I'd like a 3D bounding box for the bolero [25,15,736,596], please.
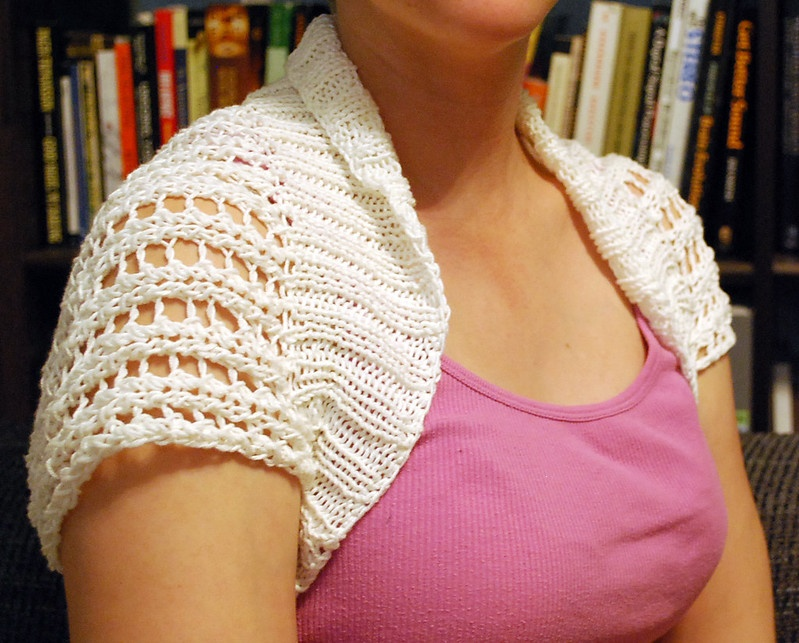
[{"bbox_3d":[-0.119,-0.014,0.639,0.268,0.371,0.227,-10,28,-35],"label":"bolero"}]
